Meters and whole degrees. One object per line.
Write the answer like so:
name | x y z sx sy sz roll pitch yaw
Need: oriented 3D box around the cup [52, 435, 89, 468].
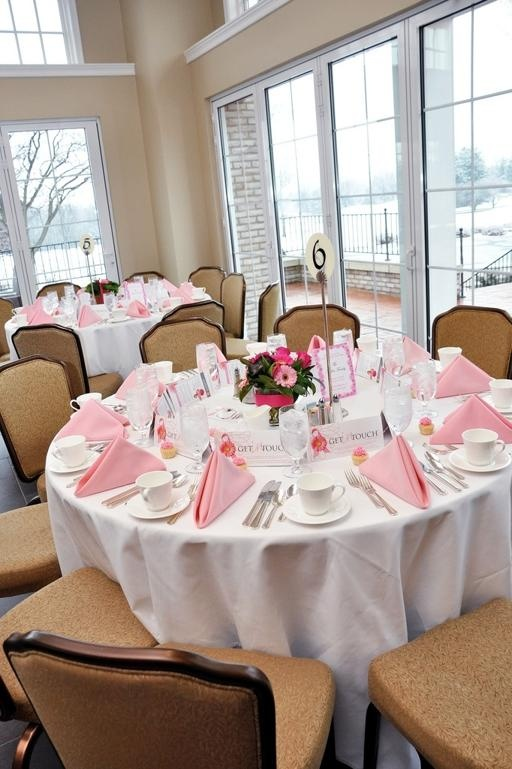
cup | -0.528 0.182 1.565 0.097 0.074 0.081 -1 15 -18

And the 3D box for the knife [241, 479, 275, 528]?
knife | 0.011 0.258 1.203 0.027 0.011 0.142 6 22 10

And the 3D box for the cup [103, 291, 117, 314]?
cup | -1.174 -0.652 4.392 0.101 0.099 0.239 -33 -2 -7

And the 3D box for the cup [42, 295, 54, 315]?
cup | -1.697 -0.656 4.507 0.084 0.106 0.279 -8 24 -17

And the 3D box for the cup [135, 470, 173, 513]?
cup | -0.220 0.232 1.225 0.071 0.066 0.088 2 24 10

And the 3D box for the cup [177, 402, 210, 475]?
cup | -0.148 0.126 1.360 0.072 0.173 0.066 -3 13 1

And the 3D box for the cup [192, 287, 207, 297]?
cup | -0.484 -0.801 4.732 0.071 0.072 0.095 4 12 36

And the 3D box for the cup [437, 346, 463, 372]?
cup | 0.676 -0.092 1.921 0.082 0.082 0.092 12 29 31

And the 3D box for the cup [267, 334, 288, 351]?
cup | 0.089 -0.144 1.995 0.076 0.075 0.077 -8 3 0

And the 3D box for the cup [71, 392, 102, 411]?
cup | -0.611 0.062 1.964 0.064 0.046 0.051 -13 30 -16

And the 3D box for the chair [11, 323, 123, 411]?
chair | -1.256 -0.055 3.744 0.473 0.866 0.555 2 19 15

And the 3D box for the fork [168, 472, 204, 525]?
fork | -0.158 0.258 1.283 0.028 0.025 0.200 -7 24 15

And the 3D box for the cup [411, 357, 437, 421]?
cup | 0.482 0.016 1.546 0.065 0.151 0.065 -8 23 3

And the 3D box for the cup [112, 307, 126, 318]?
cup | -1.014 -0.528 4.068 0.077 0.060 0.076 -4 19 1

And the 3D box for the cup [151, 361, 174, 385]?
cup | -0.357 -0.050 2.153 0.090 0.078 0.079 -10 13 -43

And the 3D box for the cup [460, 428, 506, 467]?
cup | 0.526 0.134 1.284 0.094 0.075 0.079 17 32 37

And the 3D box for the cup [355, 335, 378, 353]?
cup | 0.424 -0.150 2.110 0.079 0.064 0.079 -8 32 5

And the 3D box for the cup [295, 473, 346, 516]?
cup | 0.137 0.222 1.117 0.088 0.072 0.073 -1 31 3
